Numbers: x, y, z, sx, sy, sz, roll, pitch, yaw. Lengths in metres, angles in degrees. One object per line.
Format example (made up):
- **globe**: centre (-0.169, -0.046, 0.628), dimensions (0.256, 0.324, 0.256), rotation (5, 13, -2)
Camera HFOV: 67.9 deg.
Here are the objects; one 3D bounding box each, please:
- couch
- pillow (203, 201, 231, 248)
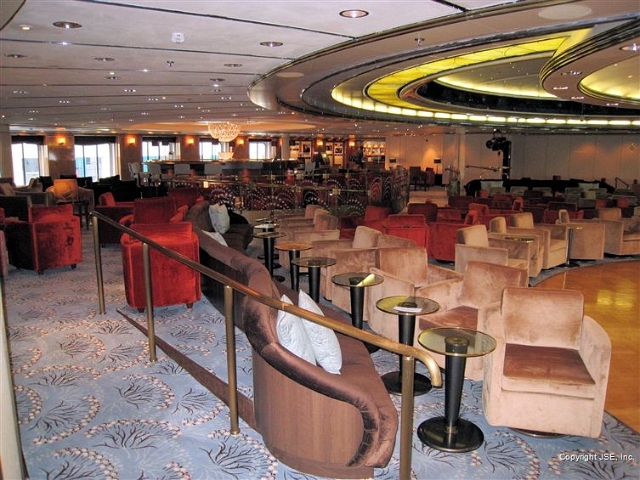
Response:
- **couch**: centre (-0.322, 0.880, 4.579), dimensions (1.282, 0.806, 2.930), rotation (-10, 26, -28)
- **pillow**: centre (-1.734, -0.256, 8.001), dimensions (0.395, 0.682, 0.824), rotation (-10, -26, 10)
